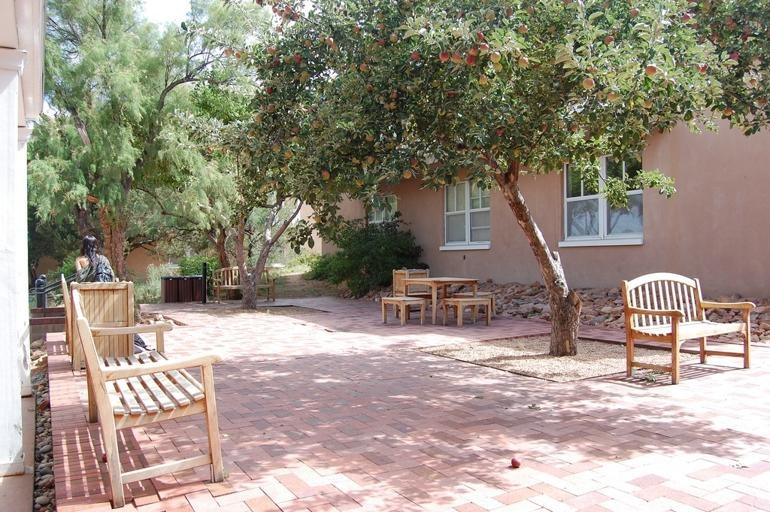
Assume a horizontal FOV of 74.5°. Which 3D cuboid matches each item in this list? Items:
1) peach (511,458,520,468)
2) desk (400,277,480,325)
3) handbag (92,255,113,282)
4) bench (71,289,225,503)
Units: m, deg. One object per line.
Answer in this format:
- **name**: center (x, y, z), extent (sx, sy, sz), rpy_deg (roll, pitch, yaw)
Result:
- **peach**: center (1.134, 1.792, 4.398), extent (0.065, 0.047, 0.058), rpy_deg (4, 1, 25)
- **desk**: center (1.326, 1.292, 11.959), extent (1.216, 1.011, 1.599), rpy_deg (-1, 1, -27)
- **handbag**: center (-4.403, 0.230, 8.004), extent (0.316, 0.428, 0.156), rpy_deg (0, -7, -22)
- **bench**: center (-2.123, 1.152, 4.523), extent (1.021, 1.835, 1.485), rpy_deg (-2, 0, -34)
